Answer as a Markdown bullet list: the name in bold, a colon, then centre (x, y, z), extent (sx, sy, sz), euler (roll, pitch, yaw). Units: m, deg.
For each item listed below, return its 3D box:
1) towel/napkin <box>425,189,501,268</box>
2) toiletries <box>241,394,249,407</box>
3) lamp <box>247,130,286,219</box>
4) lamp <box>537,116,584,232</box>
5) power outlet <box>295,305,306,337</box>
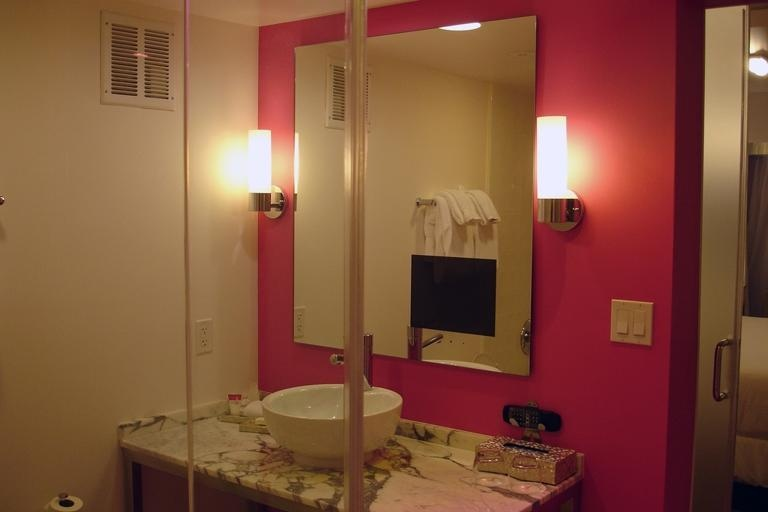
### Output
- **towel/napkin**: centre (0.262, -0.107, 2.126), extent (0.239, 0.254, 0.220), euler (0, 6, -23)
- **toiletries**: centre (-0.232, 0.243, 1.022), extent (0.015, 0.013, 0.017), euler (2, 2, -2)
- **lamp**: centre (-0.199, -0.140, 1.040), extent (0.064, 0.146, 0.032), euler (-1, 5, -18)
- **lamp**: centre (0.552, -0.254, 1.943), extent (0.135, 0.374, 0.113), euler (0, 9, 21)
- **power outlet**: centre (-0.149, 0.117, 1.086), extent (0.006, 0.064, 0.051), euler (-2, -4, 22)
